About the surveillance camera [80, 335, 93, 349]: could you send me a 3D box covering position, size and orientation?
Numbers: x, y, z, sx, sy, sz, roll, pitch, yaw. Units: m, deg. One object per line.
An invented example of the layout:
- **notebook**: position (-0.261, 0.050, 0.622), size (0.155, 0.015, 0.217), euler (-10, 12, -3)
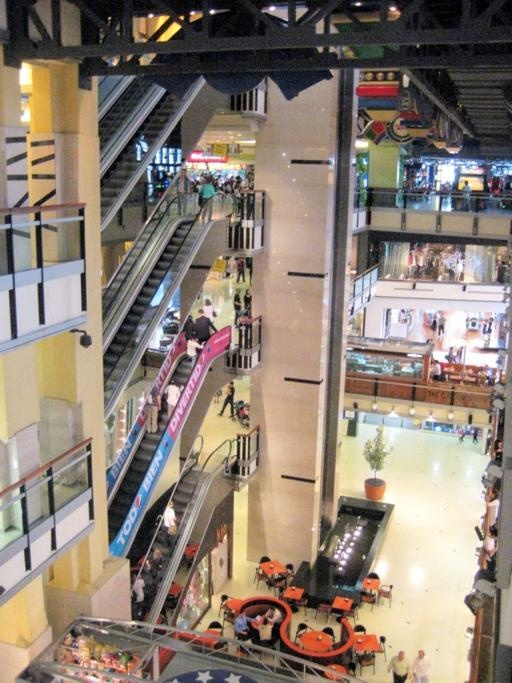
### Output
- **surveillance camera**: position (-1.811, -0.010, 7.016), size (0.108, 0.162, 0.109), euler (11, 22, 27)

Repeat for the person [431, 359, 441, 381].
- **person**: position (4.908, 0.768, 18.072), size (0.270, 0.416, 0.715), euler (7, 13, 15)

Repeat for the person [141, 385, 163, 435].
- **person**: position (-1.857, 1.168, 11.759), size (0.289, 0.788, 0.886), euler (1, 13, -9)

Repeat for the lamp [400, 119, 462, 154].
- **lamp**: position (4.144, -4.897, 15.707), size (1.530, 0.513, 4.648), euler (15, 16, 13)

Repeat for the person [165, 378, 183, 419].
- **person**: position (-1.528, 1.045, 12.185), size (0.291, 0.578, 0.967), euler (1, 13, -8)

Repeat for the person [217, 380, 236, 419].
- **person**: position (-0.971, 1.847, 21.946), size (0.454, 1.139, 1.502), euler (2, 13, -3)
